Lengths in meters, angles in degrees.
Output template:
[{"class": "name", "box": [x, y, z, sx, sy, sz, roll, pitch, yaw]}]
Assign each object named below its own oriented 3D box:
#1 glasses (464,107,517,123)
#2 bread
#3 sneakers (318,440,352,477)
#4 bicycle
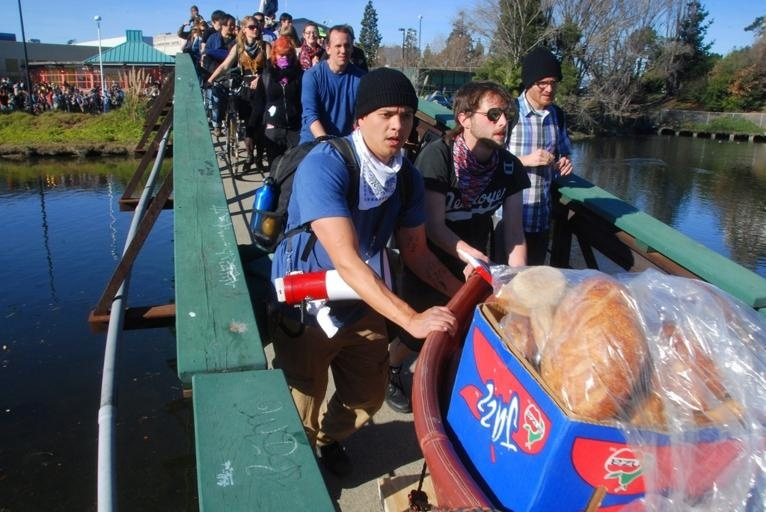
[{"class": "glasses", "box": [0.623, -0.841, 2.940, 0.144, 0.051, 0.151, -2, 4, -32]}, {"class": "bread", "box": [0.661, 0.116, 1.458, 0.436, 0.176, 0.541, 2, 34, -10]}, {"class": "sneakers", "box": [-0.309, 1.310, 3.194, 0.146, 0.128, 0.293, -21, 47, -24]}, {"class": "bicycle", "box": [-2.712, -2.586, 9.024, 1.064, 1.537, 2.355, -3, 23, -17]}]
